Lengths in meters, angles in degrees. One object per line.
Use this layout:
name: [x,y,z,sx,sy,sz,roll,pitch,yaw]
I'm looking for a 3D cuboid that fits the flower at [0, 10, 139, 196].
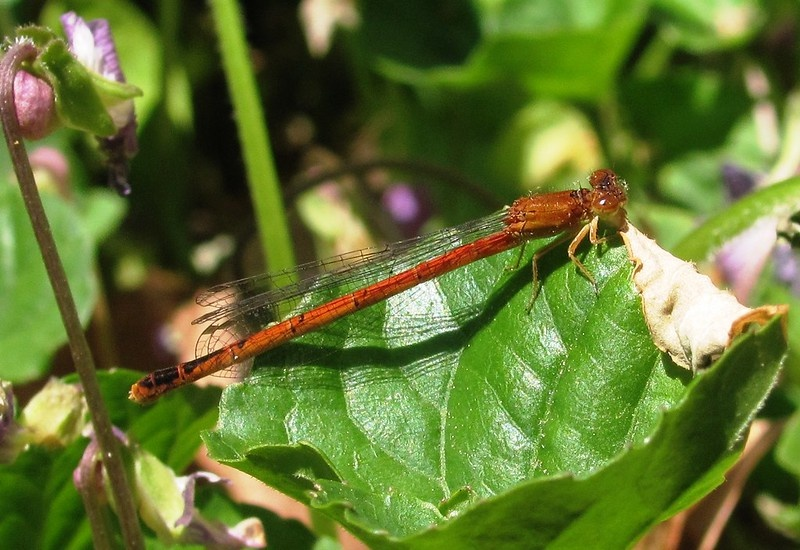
flower: [-0.956,-0.505,2.560,0.214,0.475,0.464,-5,20,33]
